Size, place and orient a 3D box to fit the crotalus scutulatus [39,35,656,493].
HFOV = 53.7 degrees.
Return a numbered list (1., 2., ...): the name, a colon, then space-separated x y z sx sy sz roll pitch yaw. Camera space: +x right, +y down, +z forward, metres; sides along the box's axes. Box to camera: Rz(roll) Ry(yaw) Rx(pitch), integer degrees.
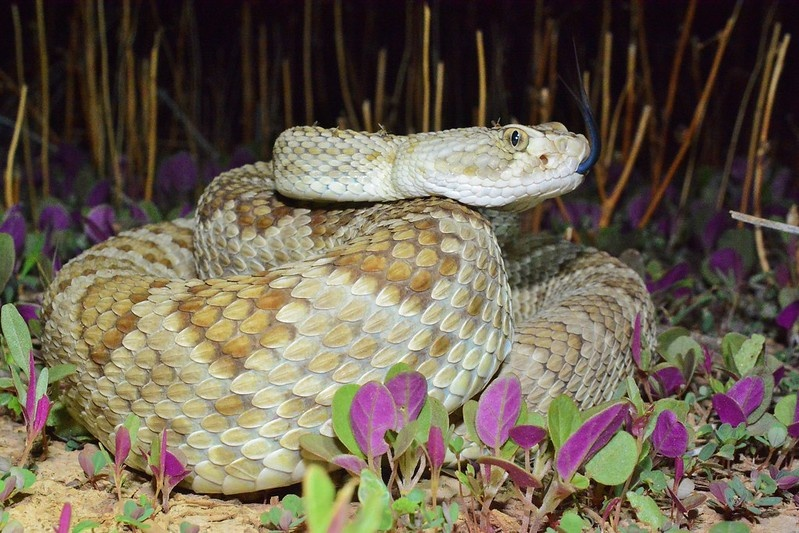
1. crotalus scutulatus: -0.250 -0.055 3.999 2.794 1.213 2.474 -1 21 -3
